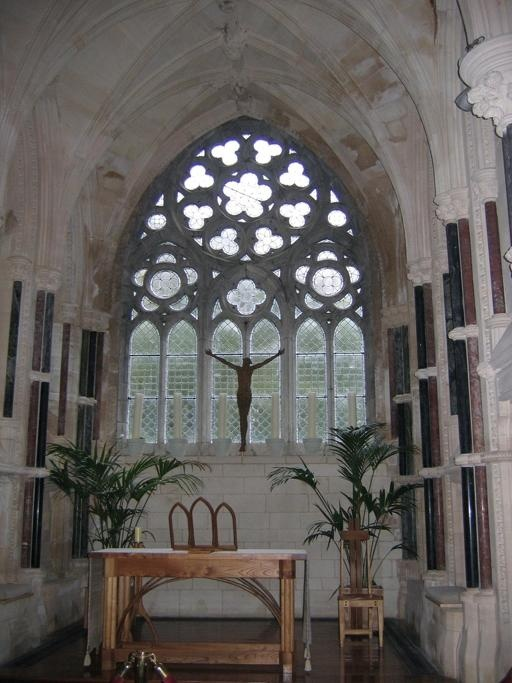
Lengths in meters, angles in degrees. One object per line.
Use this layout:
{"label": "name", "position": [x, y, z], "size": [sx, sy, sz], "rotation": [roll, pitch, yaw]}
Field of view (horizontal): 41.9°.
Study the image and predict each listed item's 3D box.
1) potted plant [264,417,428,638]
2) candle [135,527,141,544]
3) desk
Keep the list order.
{"label": "potted plant", "position": [1.043, 2.128, 7.402], "size": [2.027, 2.631, 1.787], "rotation": [-1, -22, 3]}
{"label": "candle", "position": [-1.033, 1.709, 5.878], "size": [0.040, 0.148, 0.107], "rotation": [3, -15, -20]}
{"label": "desk", "position": [-0.432, 2.150, 5.480], "size": [1.745, 0.947, 1.104], "rotation": [-3, -14, 4]}
